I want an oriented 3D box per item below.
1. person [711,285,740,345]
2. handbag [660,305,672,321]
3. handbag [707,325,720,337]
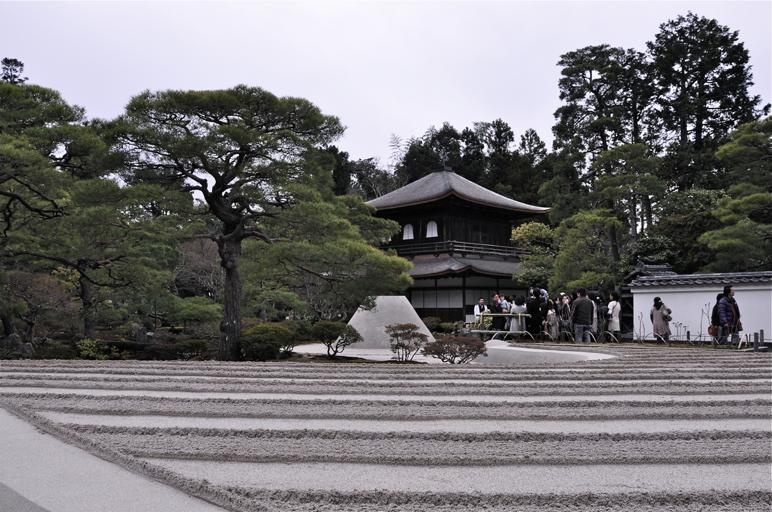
[{"bbox_3d":[9.364,1.628,32.421,0.659,1.553,1.416,0,-6,22],"label":"person"},{"bbox_3d":[8.064,1.630,34.078,0.249,0.345,0.563,-12,36,12],"label":"handbag"},{"bbox_3d":[9.173,2.074,32.992,0.302,0.279,0.322,-10,-30,33],"label":"handbag"}]
